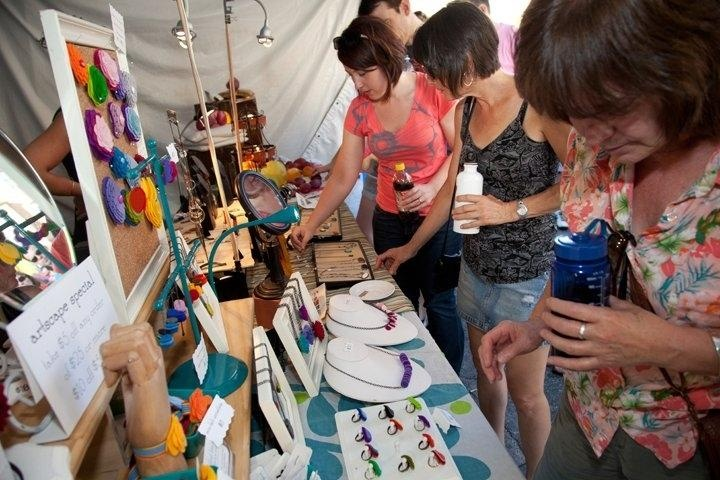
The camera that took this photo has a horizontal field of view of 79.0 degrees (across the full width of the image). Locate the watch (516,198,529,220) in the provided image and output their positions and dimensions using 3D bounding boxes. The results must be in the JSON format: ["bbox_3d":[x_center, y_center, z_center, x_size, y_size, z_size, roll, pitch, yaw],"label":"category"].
[{"bbox_3d":[0.643,-0.119,1.746,0.043,0.068,0.064,-4,9,13],"label":"watch"}]

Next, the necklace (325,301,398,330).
[{"bbox_3d":[0.009,0.301,1.808,0.192,0.062,0.114,-1,23,-7],"label":"necklace"}]

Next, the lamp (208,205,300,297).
[{"bbox_3d":[-0.470,0.068,2.001,0.450,0.124,0.505,0,-40,-2],"label":"lamp"}]

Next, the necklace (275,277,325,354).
[{"bbox_3d":[-0.231,0.297,1.679,0.026,0.254,0.250,-22,-20,8],"label":"necklace"}]

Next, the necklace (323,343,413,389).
[{"bbox_3d":[0.035,0.454,1.639,0.231,0.054,0.159,8,30,12],"label":"necklace"}]

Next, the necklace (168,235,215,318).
[{"bbox_3d":[-0.572,0.095,1.593,0.119,0.150,0.408,-9,16,-14],"label":"necklace"}]
